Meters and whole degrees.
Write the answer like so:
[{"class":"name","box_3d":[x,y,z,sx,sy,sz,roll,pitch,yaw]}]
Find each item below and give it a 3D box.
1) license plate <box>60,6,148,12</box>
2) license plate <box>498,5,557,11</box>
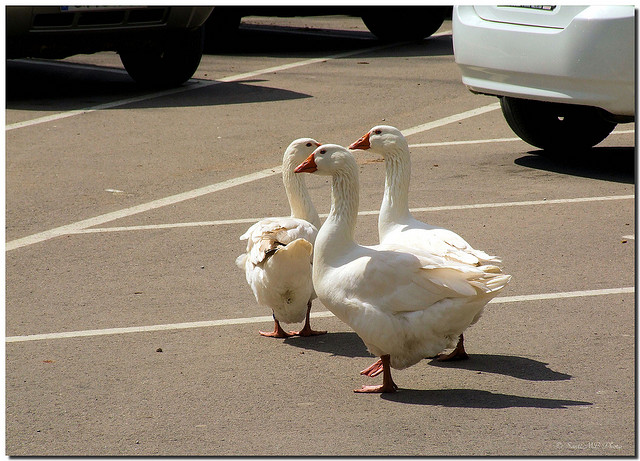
[{"class":"license plate","box_3d":[-2.976,-3.188,15.338,1.070,0.082,0.113,-4,7,-11]},{"class":"license plate","box_3d":[2.417,-2.554,12.265,0.574,0.063,0.081,12,-7,33]}]
